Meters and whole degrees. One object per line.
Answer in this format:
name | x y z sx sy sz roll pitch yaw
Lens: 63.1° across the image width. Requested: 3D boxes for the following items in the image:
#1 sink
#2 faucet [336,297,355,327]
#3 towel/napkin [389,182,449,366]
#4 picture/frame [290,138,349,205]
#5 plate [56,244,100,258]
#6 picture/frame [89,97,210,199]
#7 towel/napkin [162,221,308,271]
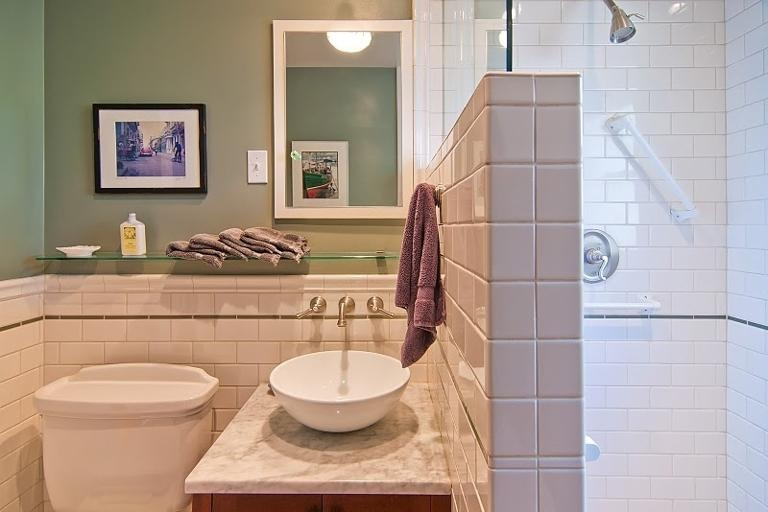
sink | -0.201 0.612 2.778 0.591 0.280 0.435 -2 7 -9
faucet | -0.192 0.269 3.022 0.077 0.137 0.182 0 7 5
towel/napkin | 0.147 -0.001 2.579 0.194 0.594 0.336 0 7 1
picture/frame | -0.332 -0.437 3.135 0.326 0.426 0.016 0 0 -2
plate | -1.511 -0.025 3.050 0.207 0.045 0.184 -2 7 -10
picture/frame | -1.176 -0.558 3.129 0.469 0.392 0.021 0 -1 -3
towel/napkin | -0.702 -0.040 3.015 0.666 0.188 0.253 -1 7 -1
